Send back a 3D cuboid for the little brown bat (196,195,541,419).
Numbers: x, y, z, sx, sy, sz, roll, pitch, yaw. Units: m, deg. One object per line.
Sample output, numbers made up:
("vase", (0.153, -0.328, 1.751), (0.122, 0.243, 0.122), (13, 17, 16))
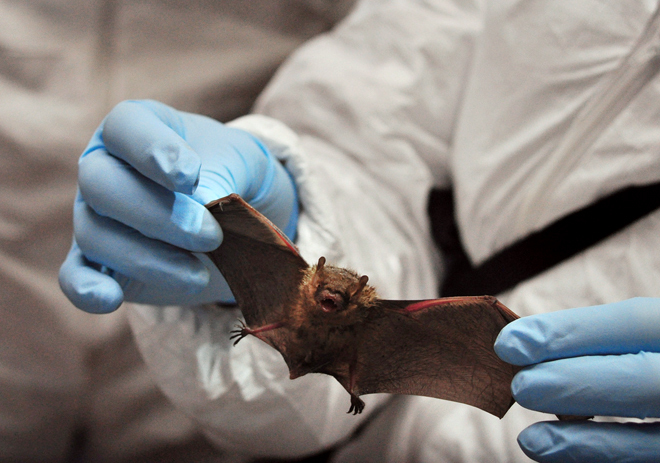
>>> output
("little brown bat", (0.003, 0.147, 1.594), (0.644, 0.198, 0.247), (26, 69, 16))
